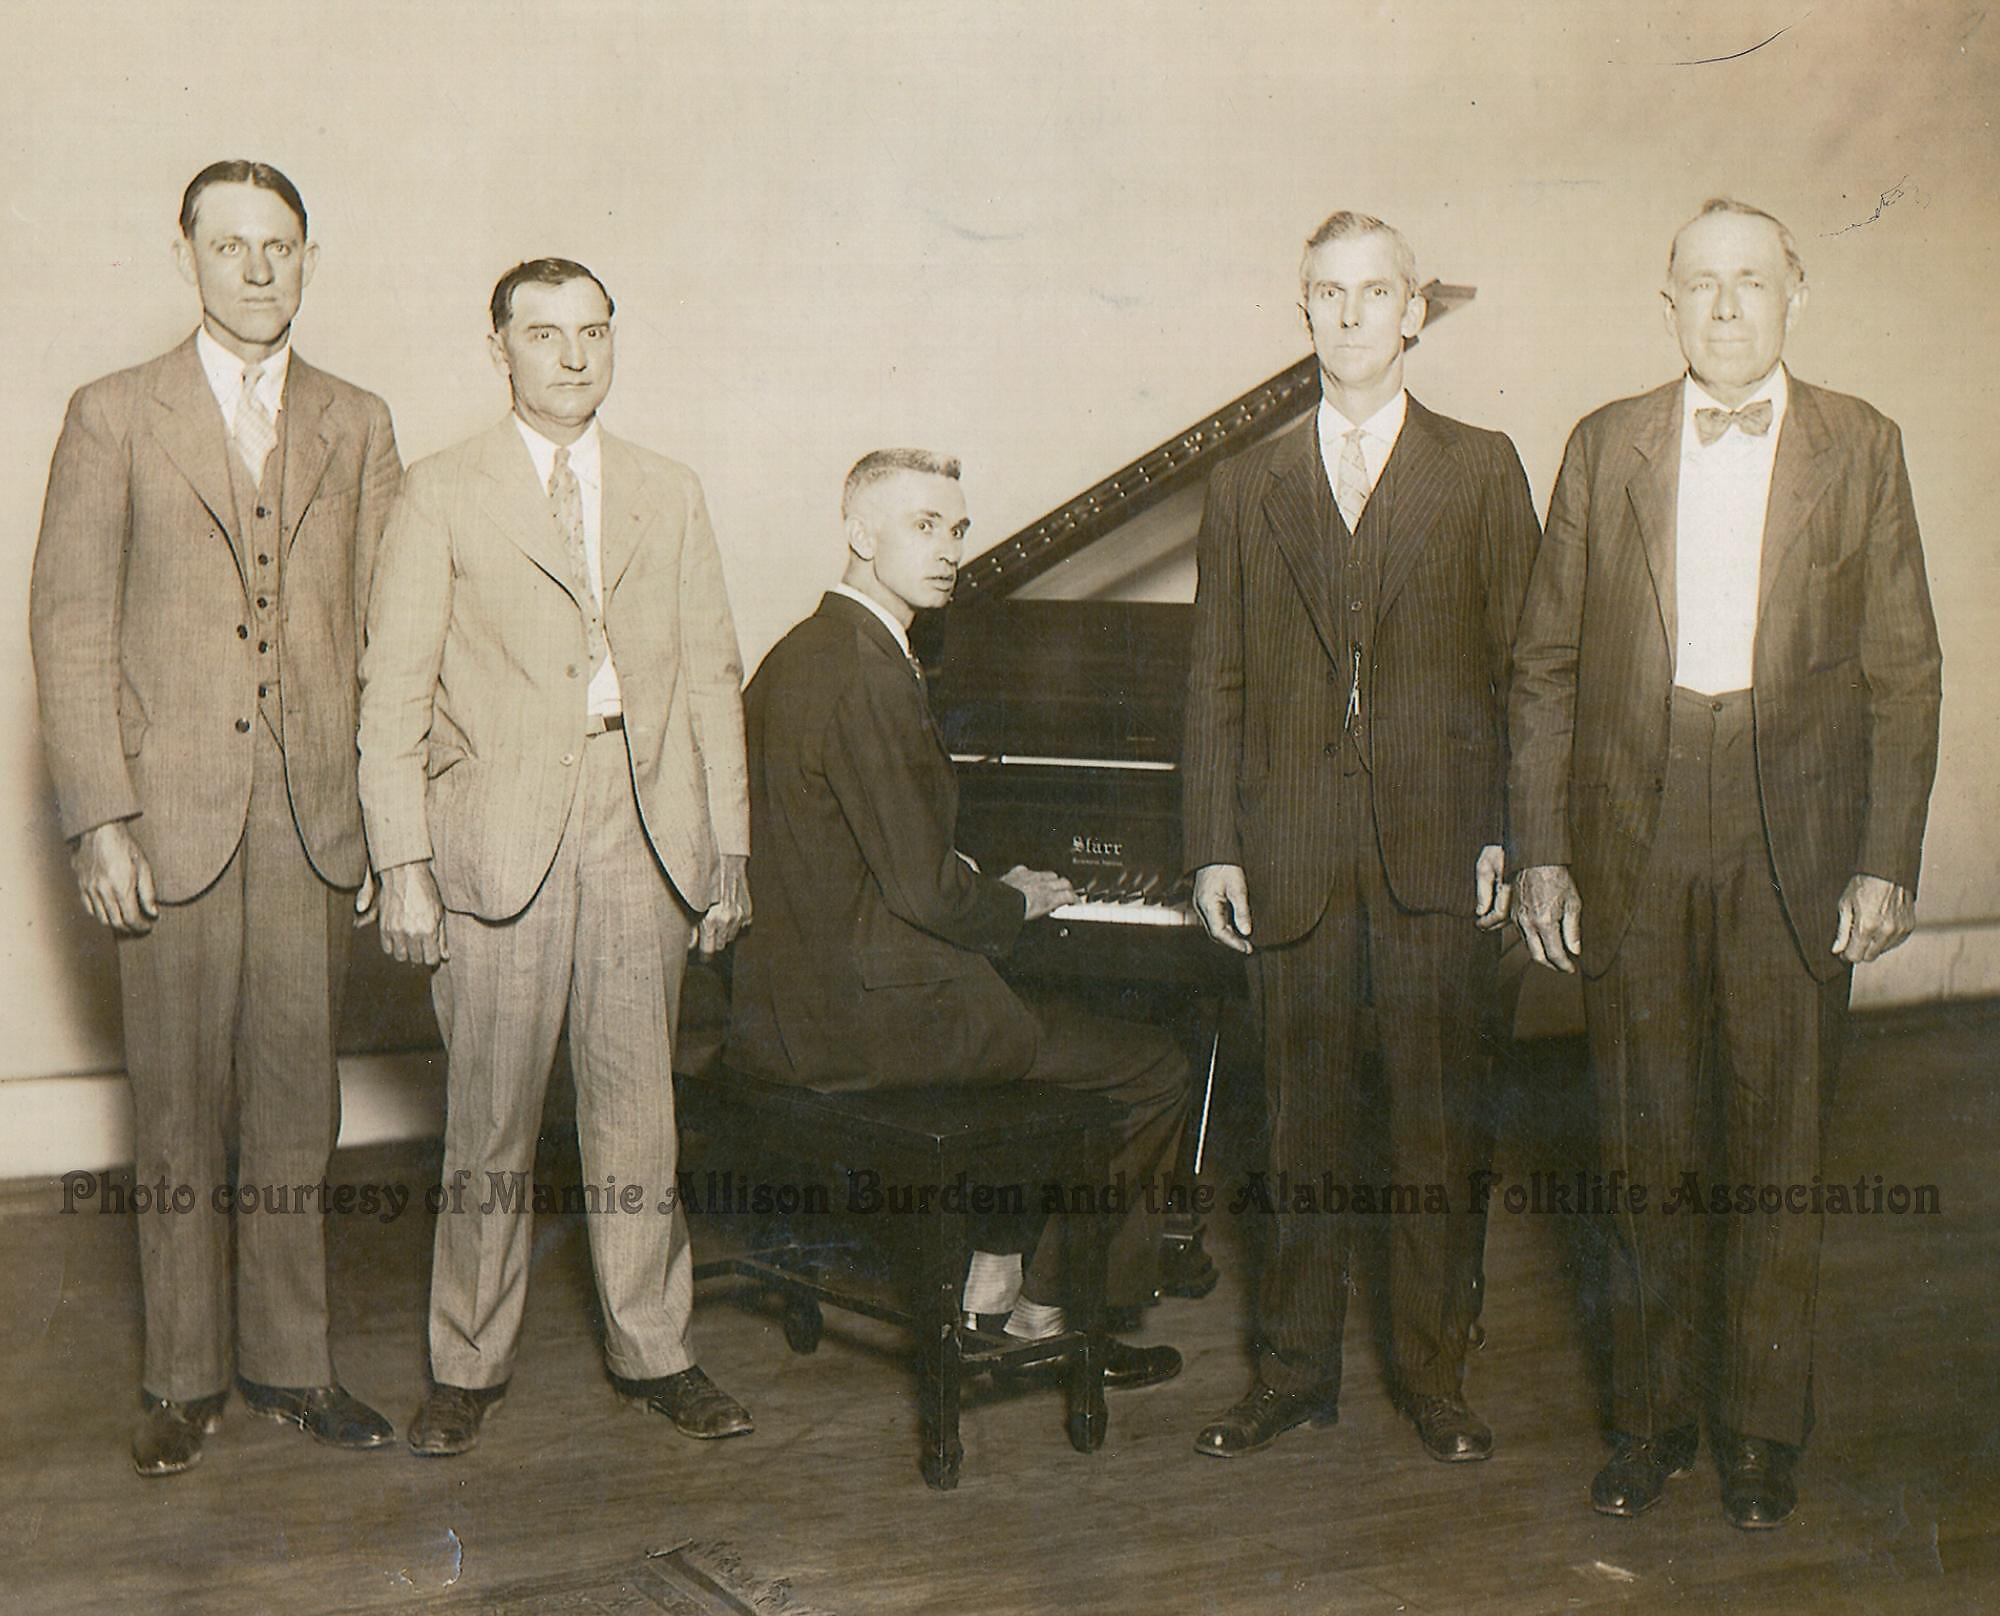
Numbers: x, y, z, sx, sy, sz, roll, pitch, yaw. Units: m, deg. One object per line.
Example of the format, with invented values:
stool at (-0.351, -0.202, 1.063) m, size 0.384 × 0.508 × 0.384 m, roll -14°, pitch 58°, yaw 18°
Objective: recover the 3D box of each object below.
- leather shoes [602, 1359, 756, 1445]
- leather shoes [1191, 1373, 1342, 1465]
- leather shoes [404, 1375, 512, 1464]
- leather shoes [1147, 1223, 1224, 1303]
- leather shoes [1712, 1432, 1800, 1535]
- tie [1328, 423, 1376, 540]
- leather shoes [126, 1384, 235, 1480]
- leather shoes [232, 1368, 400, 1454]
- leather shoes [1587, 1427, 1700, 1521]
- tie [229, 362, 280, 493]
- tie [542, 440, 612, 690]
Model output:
leather shoes at (-0.584, 1.043, 4.227) m, size 0.300 × 0.147 × 0.106 m, roll 12°, pitch 16°, yaw 32°
leather shoes at (0.477, 1.078, 4.117) m, size 0.299 × 0.143 × 0.103 m, roll -3°, pitch 2°, yaw -28°
leather shoes at (-0.974, 1.094, 4.108) m, size 0.078 × 0.099 × 0.211 m, roll 1°, pitch 1°, yaw 14°
leather shoes at (0.379, 0.957, 4.805) m, size 0.149 × 0.157 × 0.367 m, roll -1°, pitch -13°, yaw 5°
leather shoes at (1.261, 1.126, 3.831) m, size 0.111 × 0.112 × 0.143 m, roll 1°, pitch -7°, yaw 2°
tie at (0.607, -0.573, 3.973) m, size 0.075 × 0.189 × 0.054 m, roll 3°, pitch 9°, yaw 21°
leather shoes at (-1.456, 1.094, 4.055) m, size 0.084 × 0.105 × 0.208 m, roll 1°, pitch 1°, yaw 2°
leather shoes at (-1.202, 1.075, 4.100) m, size 0.283 × 0.140 × 0.110 m, roll 13°, pitch 2°, yaw 11°
leather shoes at (1.091, 1.118, 3.902) m, size 0.084 × 0.105 × 0.240 m, roll 1°, pitch 6°, yaw 45°
tie at (-1.279, -0.663, 3.937) m, size 0.099 × 0.204 × 0.055 m, roll -4°, pitch 9°, yaw -20°
tie at (-0.736, -0.447, 4.010) m, size 0.075 × 0.491 × 0.115 m, roll -4°, pitch 8°, yaw 7°
